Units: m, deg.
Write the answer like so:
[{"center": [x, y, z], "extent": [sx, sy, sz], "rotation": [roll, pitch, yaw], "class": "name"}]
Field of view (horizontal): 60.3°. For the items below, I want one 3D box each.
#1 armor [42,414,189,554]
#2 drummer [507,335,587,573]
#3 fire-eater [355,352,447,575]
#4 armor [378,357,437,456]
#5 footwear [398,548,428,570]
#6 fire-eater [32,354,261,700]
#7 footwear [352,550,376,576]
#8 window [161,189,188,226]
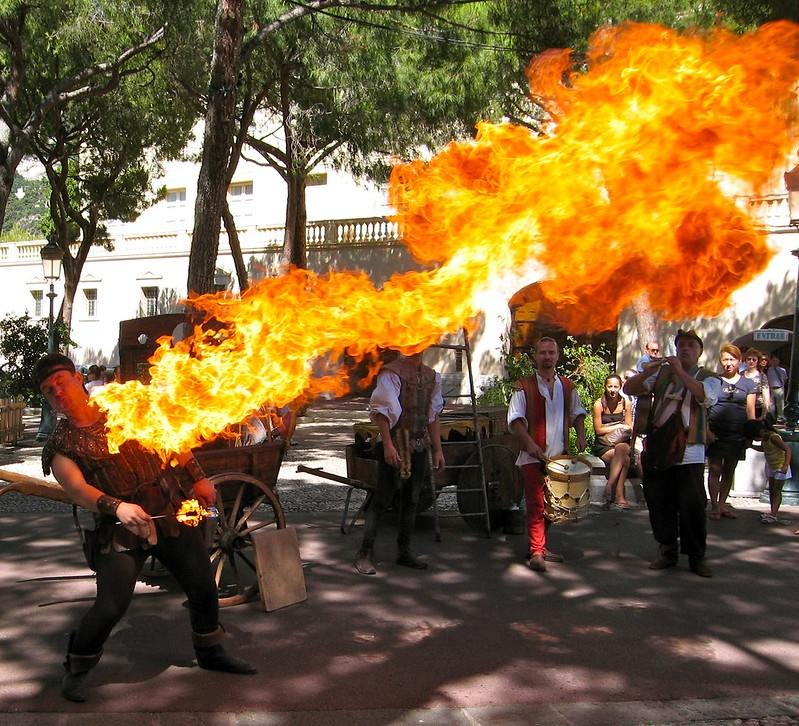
[{"center": [-1.495, 0.540, 3.659], "extent": [0.600, 0.752, 0.475], "rotation": [-2, 9, -31], "class": "armor"}, {"center": [1.317, 0.716, 6.073], "extent": [0.652, 2.054, 0.682], "rotation": [6, 8, 5], "class": "drummer"}, {"center": [0.006, 0.862, 6.131], "extent": [0.654, 1.723, 0.898], "rotation": [0, 1, -40], "class": "fire-eater"}, {"center": [0.051, 0.437, 5.943], "extent": [0.421, 0.933, 0.412], "rotation": [-1, 7, -26], "class": "armor"}, {"center": [0.098, 1.707, 6.005], "extent": [0.302, 0.207, 0.122], "rotation": [0, 0, 21], "class": "footwear"}, {"center": [-1.368, 0.822, 3.542], "extent": [0.959, 1.717, 0.464], "rotation": [1, -1, -29], "class": "fire-eater"}, {"center": [-0.285, 1.682, 5.819], "extent": [0.158, 0.159, 0.265], "rotation": [1, -1, -4], "class": "footwear"}, {"center": [-11.451, -7.765, 34.613], "extent": [1.681, 1.767, 1.759], "rotation": [4, 1, -4], "class": "window"}]
